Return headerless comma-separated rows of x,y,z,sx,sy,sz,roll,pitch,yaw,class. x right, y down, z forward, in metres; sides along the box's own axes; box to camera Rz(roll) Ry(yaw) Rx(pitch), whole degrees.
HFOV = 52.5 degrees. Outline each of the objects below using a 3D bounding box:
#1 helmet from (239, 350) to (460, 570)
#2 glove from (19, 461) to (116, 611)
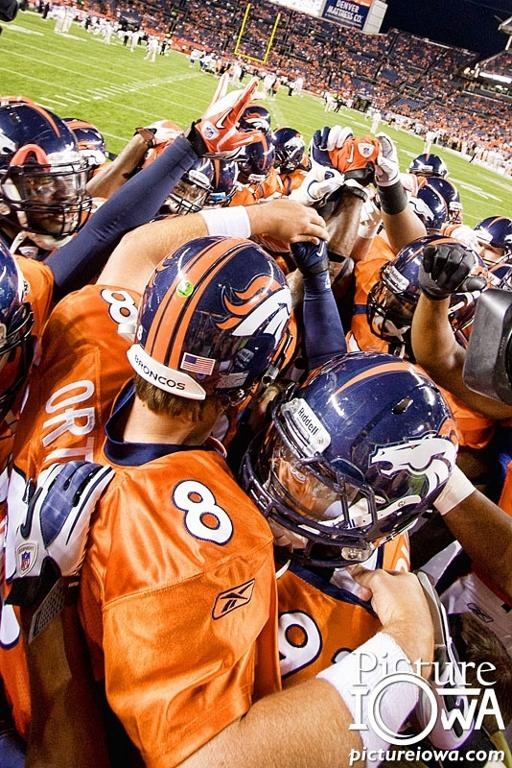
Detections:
0.266,0.243,1.542,0.582,0.600,0.425,21,32,2,helmet
-0.410,0.349,1.219,0.128,0.319,0.188,17,2,-40,glove
